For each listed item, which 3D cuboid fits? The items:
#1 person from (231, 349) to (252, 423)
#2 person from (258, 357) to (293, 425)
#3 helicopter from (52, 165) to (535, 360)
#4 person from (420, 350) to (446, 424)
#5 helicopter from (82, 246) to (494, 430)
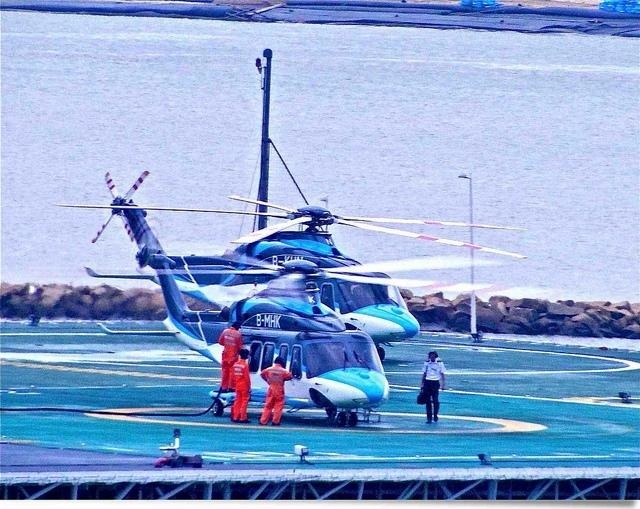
[{"bbox_3d":[-2.438,4.137,55.200,0.611,2.302,0.701,-1,-1,-3],"label":"person"},{"bbox_3d":[-1.330,4.293,55.005,1.048,2.166,1.086,-1,-1,-2],"label":"person"},{"bbox_3d":[-1.212,0.021,66.640,17.794,4.157,16.400,-6,5,13],"label":"helicopter"},{"bbox_3d":[3.681,4.206,56.003,1.052,2.072,0.777,-5,-15,30],"label":"person"},{"bbox_3d":[-3.052,2.602,58.841,8.081,5.791,11.399,0,-1,-31],"label":"helicopter"}]
